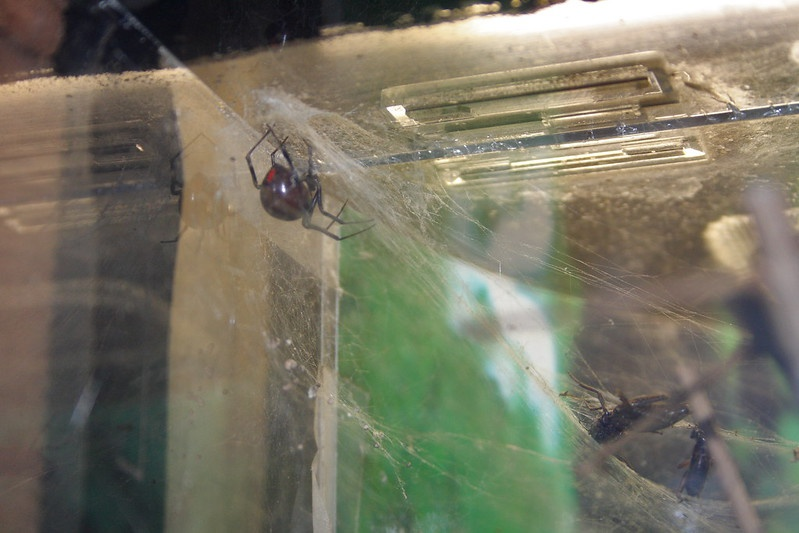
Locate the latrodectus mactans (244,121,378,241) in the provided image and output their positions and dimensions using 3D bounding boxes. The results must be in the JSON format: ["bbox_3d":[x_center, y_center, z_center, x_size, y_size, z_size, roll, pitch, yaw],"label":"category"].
[{"bbox_3d":[-0.466,-0.392,3.454,0.611,0.182,0.419,47,48,-1],"label":"latrodectus mactans"}]
